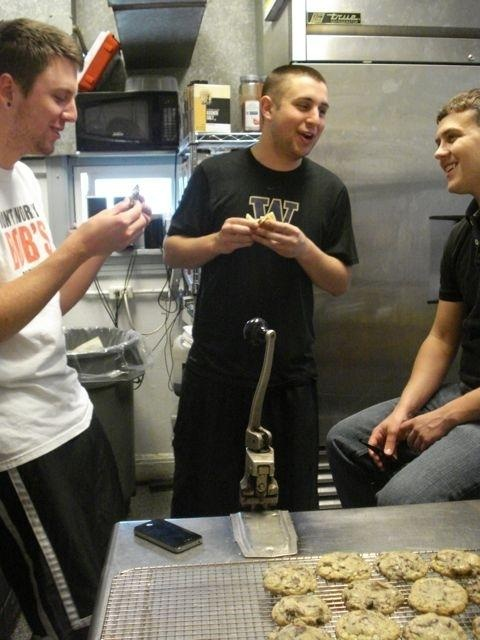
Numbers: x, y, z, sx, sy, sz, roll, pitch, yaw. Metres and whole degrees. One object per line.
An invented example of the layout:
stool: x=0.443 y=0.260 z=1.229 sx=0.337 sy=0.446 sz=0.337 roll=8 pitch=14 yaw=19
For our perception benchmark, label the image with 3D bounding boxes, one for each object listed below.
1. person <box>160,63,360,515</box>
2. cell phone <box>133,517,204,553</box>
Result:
person: x=0.076 y=-0.055 z=1.528 sx=0.557 sy=1.301 sz=0.355 roll=-1 pitch=11 yaw=-9
cell phone: x=-0.120 y=0.349 z=0.894 sx=0.118 sy=0.017 sz=0.059 roll=9 pitch=13 yaw=39
